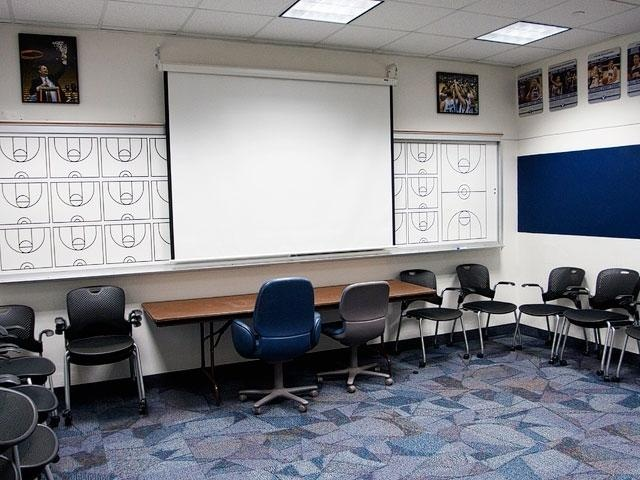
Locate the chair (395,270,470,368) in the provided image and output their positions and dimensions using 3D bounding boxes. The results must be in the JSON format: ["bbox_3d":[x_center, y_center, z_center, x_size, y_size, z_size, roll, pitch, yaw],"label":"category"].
[{"bbox_3d":[1.367,0.905,5.543,0.859,1.047,0.901,0,2,42],"label":"chair"}]

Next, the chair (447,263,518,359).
[{"bbox_3d":[2.099,0.837,5.730,0.760,1.010,0.785,-1,3,2],"label":"chair"}]

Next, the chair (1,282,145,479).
[{"bbox_3d":[-2.091,1.038,4.304,0.749,1.146,0.733,-4,8,-23],"label":"chair"}]

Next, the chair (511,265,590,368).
[{"bbox_3d":[2.965,0.828,5.597,1.018,1.396,0.918,0,1,-37],"label":"chair"}]

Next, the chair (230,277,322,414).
[{"bbox_3d":[-0.415,0.961,4.392,0.890,1.189,0.766,0,-2,-25],"label":"chair"}]

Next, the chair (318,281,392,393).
[{"bbox_3d":[0.363,0.926,4.740,0.760,1.066,0.738,1,1,-5],"label":"chair"}]
